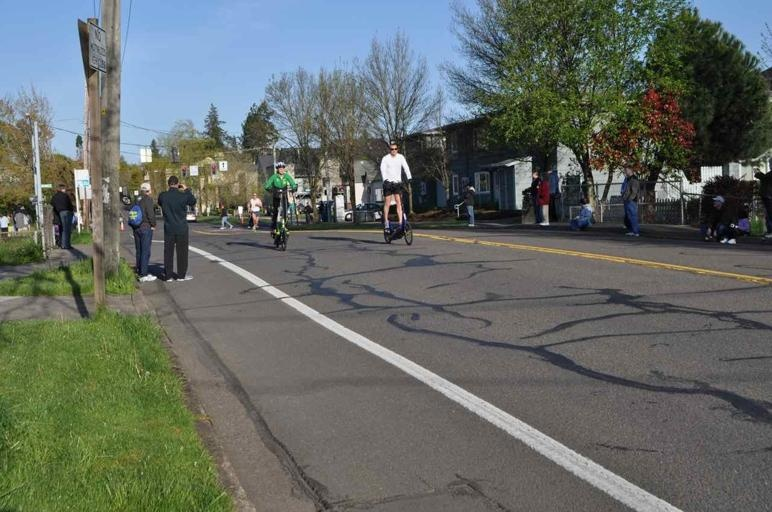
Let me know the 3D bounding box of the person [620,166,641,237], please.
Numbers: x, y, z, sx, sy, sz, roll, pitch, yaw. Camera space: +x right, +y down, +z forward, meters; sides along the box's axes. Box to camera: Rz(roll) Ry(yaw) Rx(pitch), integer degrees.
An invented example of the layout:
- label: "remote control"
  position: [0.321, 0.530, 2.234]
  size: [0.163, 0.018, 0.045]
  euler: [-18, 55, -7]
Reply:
- label: "person"
  position: [8.260, -1.804, 22.001]
  size: [0.594, 2.261, 0.987]
  euler: [3, 11, 21]

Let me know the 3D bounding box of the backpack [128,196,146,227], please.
- label: "backpack"
  position: [-5.676, -0.974, 14.922]
  size: [0.312, 0.626, 0.462]
  euler: [-5, 11, -21]

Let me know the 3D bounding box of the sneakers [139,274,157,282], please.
- label: "sneakers"
  position: [-5.414, 0.500, 14.917]
  size: [0.391, 0.199, 0.151]
  euler: [-6, 12, -31]

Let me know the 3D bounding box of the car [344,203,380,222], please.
- label: "car"
  position: [-1.825, -3.917, 55.185]
  size: [2.599, 1.532, 1.725]
  euler: [2, 2, 3]

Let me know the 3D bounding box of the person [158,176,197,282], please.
- label: "person"
  position: [-4.701, -0.625, 14.735]
  size: [0.733, 2.339, 0.944]
  euler: [-9, 13, -40]
